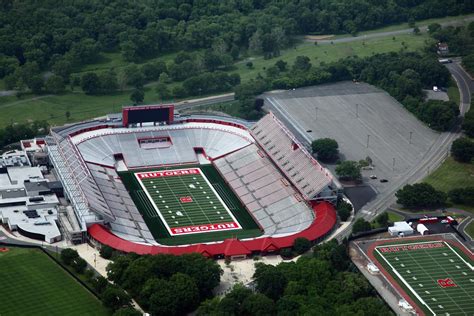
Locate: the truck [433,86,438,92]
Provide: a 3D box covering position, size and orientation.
[{"bbox_3d":[77.649,-26.757,274.000,1.778,0.772,2.475,-8,31,3],"label":"truck"}]

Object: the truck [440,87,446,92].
[{"bbox_3d":[80.861,-26.525,274.445,1.688,0.466,2.103,-3,31,2],"label":"truck"}]

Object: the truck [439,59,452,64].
[{"bbox_3d":[88.608,-40.375,297.688,5.339,0.917,3.794,-2,30,-2],"label":"truck"}]

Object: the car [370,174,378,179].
[{"bbox_3d":[43.976,6.095,225.314,2.252,0.597,2.057,0,51,-2],"label":"car"}]
